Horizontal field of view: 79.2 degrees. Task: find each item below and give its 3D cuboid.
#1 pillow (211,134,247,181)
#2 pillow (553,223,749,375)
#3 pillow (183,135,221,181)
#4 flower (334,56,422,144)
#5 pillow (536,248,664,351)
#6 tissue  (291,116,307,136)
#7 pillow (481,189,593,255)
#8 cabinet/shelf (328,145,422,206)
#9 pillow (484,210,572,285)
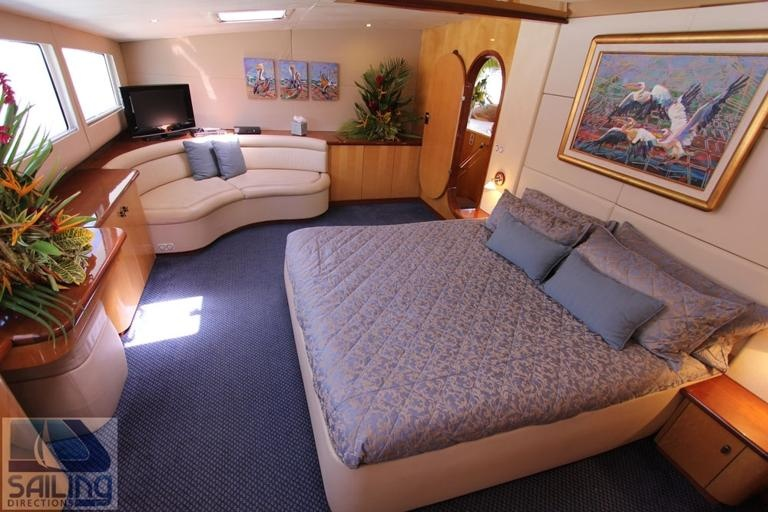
[{"bbox_3d":[-1.915,-1.231,5.778,0.260,0.449,0.521,15,25,10],"label":"pillow"},{"bbox_3d":[2.175,0.321,3.596,0.910,0.377,1.261,-47,52,-3],"label":"pillow"},{"bbox_3d":[-2.257,-1.070,5.733,0.326,0.520,0.605,-5,-9,6],"label":"pillow"},{"bbox_3d":[-0.020,-2.160,6.384,1.133,0.715,1.231,2,12,-2],"label":"flower"},{"bbox_3d":[1.714,0.334,3.693,0.599,0.272,0.959,-48,43,3],"label":"pillow"},{"bbox_3d":[-1.132,-1.748,6.300,0.266,0.359,0.241,1,22,-10],"label":"tissue "},{"bbox_3d":[1.478,-0.398,4.315,0.538,0.230,0.771,-37,47,-22],"label":"pillow"},{"bbox_3d":[-0.176,-1.168,6.538,0.873,0.534,0.269,-4,37,-13],"label":"cabinet/shelf"},{"bbox_3d":[1.336,-0.094,4.241,0.244,0.517,0.830,18,14,-49],"label":"pillow"}]
